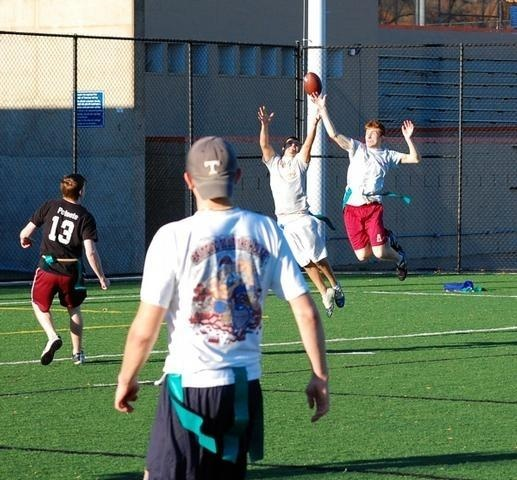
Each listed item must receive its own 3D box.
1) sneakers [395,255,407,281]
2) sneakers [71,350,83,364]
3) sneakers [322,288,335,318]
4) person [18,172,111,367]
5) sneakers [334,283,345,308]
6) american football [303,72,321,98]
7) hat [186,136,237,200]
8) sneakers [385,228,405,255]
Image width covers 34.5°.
[{"bbox_3d":[1.903,0.375,10.961,0.148,0.493,0.206,2,23,14],"label":"sneakers"},{"bbox_3d":[-1.538,0.998,7.052,0.050,0.060,0.145,0,5,-1],"label":"sneakers"},{"bbox_3d":[0.771,0.703,9.011,0.126,0.333,0.107,-8,15,-5],"label":"sneakers"},{"bbox_3d":[-1.611,0.260,6.925,0.699,1.607,0.819,-1,4,-18],"label":"person"},{"bbox_3d":[0.917,0.656,9.196,0.101,0.326,0.133,-13,18,-6],"label":"sneakers"},{"bbox_3d":[0.633,-1.836,9.848,0.160,0.247,0.299,1,19,11],"label":"american football"},{"bbox_3d":[-0.185,-0.293,3.193,0.177,0.144,0.302,-4,39,-12],"label":"hat"},{"bbox_3d":[2.155,0.017,13.039,0.213,0.531,0.174,-27,17,23],"label":"sneakers"}]
